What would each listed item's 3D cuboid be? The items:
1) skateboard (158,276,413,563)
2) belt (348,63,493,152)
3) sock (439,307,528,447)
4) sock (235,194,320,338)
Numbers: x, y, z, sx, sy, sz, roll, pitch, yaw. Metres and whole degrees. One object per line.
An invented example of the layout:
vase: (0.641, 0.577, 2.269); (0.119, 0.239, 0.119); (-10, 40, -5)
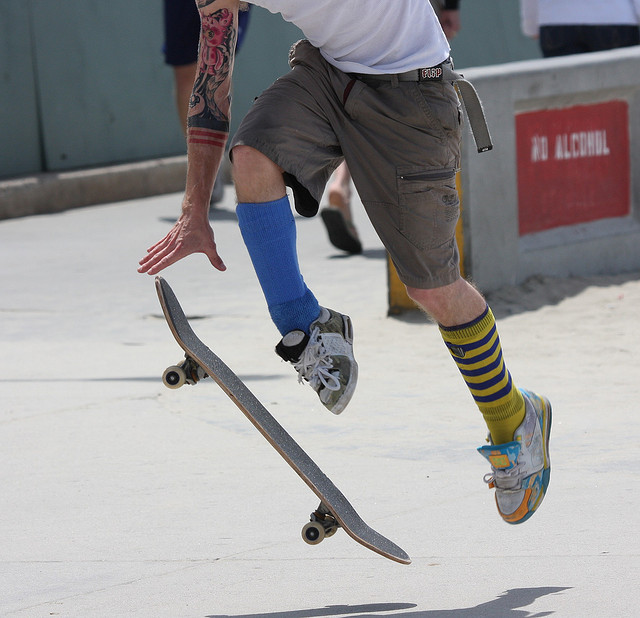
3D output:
skateboard: (-0.108, 0.364, 3.769); (0.150, 0.870, 0.183); (-40, 0, 9)
belt: (0.302, -0.574, 3.500); (0.385, 0.221, 0.151); (13, 21, 37)
sock: (0.458, 0.191, 3.356); (0.203, 0.390, 0.110); (-11, 10, 2)
sock: (-0.105, -0.110, 3.239); (0.163, 0.379, 0.073); (-12, 10, -5)
